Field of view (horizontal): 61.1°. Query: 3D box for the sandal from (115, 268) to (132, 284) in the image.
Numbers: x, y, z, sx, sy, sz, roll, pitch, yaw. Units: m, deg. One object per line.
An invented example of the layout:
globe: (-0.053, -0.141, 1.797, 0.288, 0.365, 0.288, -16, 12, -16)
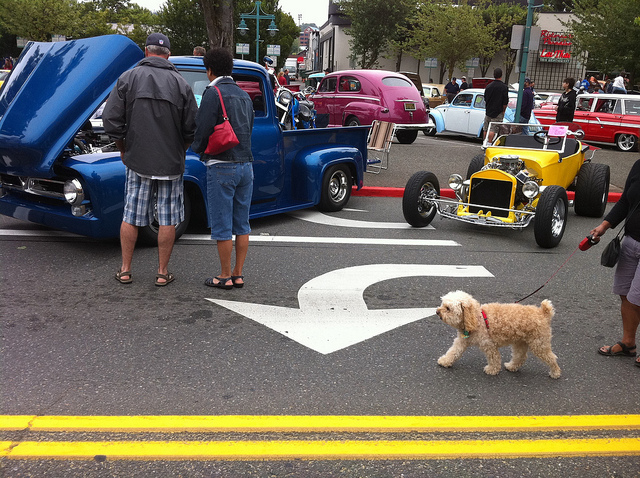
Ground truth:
sandal: (-2.162, 0.387, 5.924, 0.177, 0.114, 0.195, -2, 15, -21)

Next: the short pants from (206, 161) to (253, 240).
short pants: (-0.977, -0.433, 5.805, 0.471, 0.807, 0.358, 0, 14, -11)

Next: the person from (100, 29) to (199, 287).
person: (-1.881, -0.955, 6.097, 0.971, 2.675, 1.301, -1, 15, -14)

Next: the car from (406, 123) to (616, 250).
car: (3.226, -1.059, 8.908, 2.508, 1.692, 3.212, 12, 16, 30)

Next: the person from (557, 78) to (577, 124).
person: (7.450, -4.170, 16.264, 0.433, 1.235, 1.215, 9, 15, 22)

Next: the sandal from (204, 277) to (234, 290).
sandal: (-1.109, 0.473, 5.942, 0.256, 0.103, 0.134, 9, 4, 15)

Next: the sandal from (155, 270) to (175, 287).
sandal: (-1.718, 0.420, 5.919, 0.098, 0.100, 0.237, 3, 12, 7)

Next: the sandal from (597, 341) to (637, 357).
sandal: (2.635, 0.974, 4.836, 0.314, 0.134, 0.125, 2, 3, 19)

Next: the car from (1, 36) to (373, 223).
car: (-1.631, -1.266, 7.750, 2.777, 1.981, 4.733, 10, 13, 44)

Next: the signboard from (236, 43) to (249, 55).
signboard: (-4.035, -9.847, 27.925, 0.537, 0.444, 0.903, -1, 15, -16)

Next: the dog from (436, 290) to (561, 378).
dog: (1.475, 0.788, 4.460, 0.981, 0.687, 0.341, 0, 9, 8)

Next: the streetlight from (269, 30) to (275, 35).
streetlight: (-2.629, -11.232, 29.342, 0.276, 0.248, 0.230, 15, 1, -13)

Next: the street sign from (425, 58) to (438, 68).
street sign: (9.135, -14.628, 44.698, 0.923, 0.717, 2.173, 5, 14, 7)

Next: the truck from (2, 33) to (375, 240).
truck: (-1.421, -1.242, 7.799, 2.771, 2.099, 5.074, 8, 10, 44)

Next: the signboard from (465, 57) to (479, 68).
signboard: (12.147, -14.135, 43.304, 0.879, 0.695, 1.285, 5, 14, 8)

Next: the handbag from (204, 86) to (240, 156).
handbag: (-1.026, -1.208, 5.567, 0.308, 0.706, 0.251, 14, 18, 37)

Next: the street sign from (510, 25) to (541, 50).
street sign: (5.318, -5.237, 13.970, 0.654, 0.714, 2.127, 8, 15, 19)

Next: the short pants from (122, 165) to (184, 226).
short pants: (-1.798, -0.480, 5.811, 0.614, 0.765, 0.296, 2, 6, -11)
